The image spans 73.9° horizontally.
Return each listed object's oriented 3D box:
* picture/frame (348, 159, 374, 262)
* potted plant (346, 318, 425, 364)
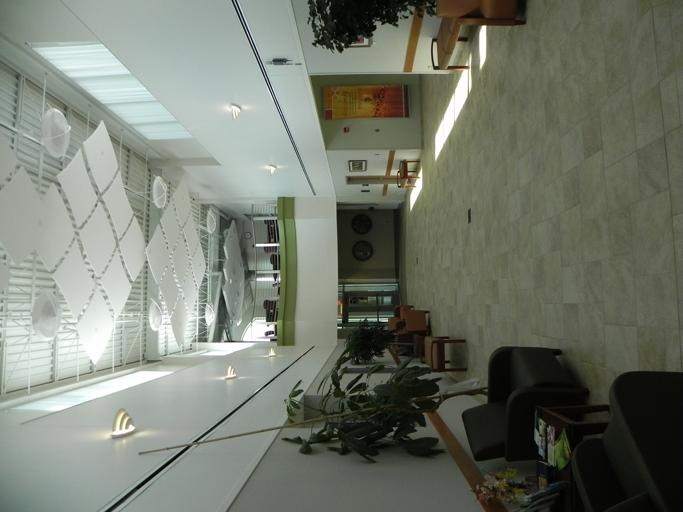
[{"bbox_3d":[0.434,-1.161,11.992,0.693,2.671,0.207,2,2,20],"label":"picture/frame"},{"bbox_3d":[0.852,1.504,9.035,1.370,0.982,1.302,-2,15,7],"label":"potted plant"}]
